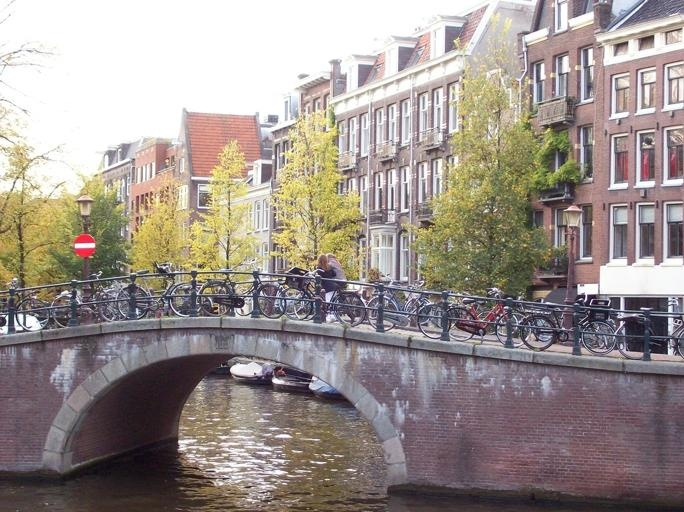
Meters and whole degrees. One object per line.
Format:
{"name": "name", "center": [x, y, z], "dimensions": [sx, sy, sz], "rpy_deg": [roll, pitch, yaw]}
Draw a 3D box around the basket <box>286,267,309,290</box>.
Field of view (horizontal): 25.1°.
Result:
{"name": "basket", "center": [-1.215, 0.607, 40.931], "dimensions": [0.603, 0.608, 0.480], "rpy_deg": [6, 4, 18]}
